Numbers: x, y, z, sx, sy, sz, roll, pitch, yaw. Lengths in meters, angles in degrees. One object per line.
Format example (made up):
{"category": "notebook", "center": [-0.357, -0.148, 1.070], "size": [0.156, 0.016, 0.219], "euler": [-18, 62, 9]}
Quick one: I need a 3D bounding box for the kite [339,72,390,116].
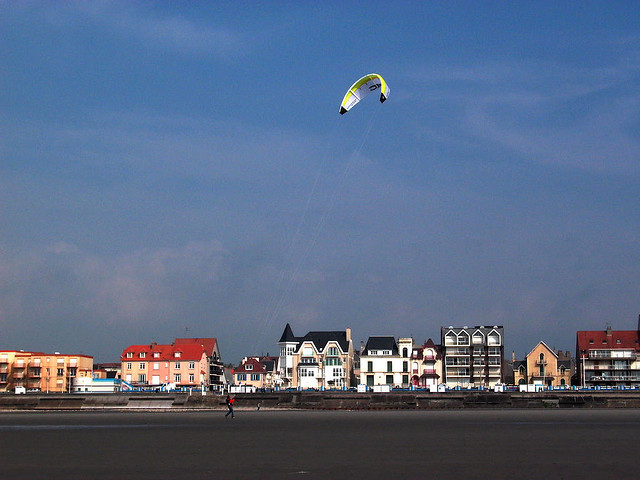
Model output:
{"category": "kite", "center": [4.461, -15.276, 142.998], "size": [3.785, 3.385, 6.086], "euler": [3, -11, -13]}
